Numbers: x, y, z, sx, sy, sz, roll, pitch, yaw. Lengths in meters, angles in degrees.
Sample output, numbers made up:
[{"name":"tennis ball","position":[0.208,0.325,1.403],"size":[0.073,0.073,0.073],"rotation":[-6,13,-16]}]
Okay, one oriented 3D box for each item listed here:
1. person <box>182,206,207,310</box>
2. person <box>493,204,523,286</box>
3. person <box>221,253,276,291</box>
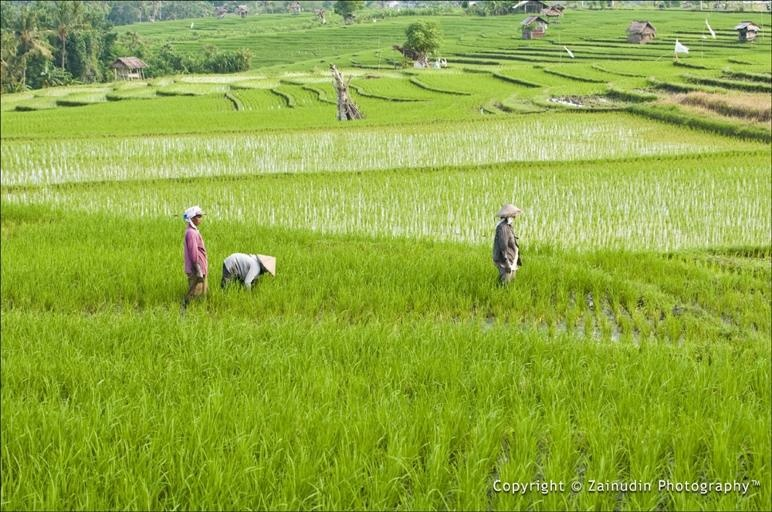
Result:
[{"name":"person","position":[-3.166,0.008,12.649],"size":[0.407,1.673,0.491],"rotation":[-3,13,-15]},{"name":"person","position":[2.052,-0.192,13.054],"size":[0.437,1.413,0.611],"rotation":[3,13,11]},{"name":"person","position":[-2.364,0.254,13.134],"size":[0.892,0.526,0.382],"rotation":[-3,13,-13]}]
